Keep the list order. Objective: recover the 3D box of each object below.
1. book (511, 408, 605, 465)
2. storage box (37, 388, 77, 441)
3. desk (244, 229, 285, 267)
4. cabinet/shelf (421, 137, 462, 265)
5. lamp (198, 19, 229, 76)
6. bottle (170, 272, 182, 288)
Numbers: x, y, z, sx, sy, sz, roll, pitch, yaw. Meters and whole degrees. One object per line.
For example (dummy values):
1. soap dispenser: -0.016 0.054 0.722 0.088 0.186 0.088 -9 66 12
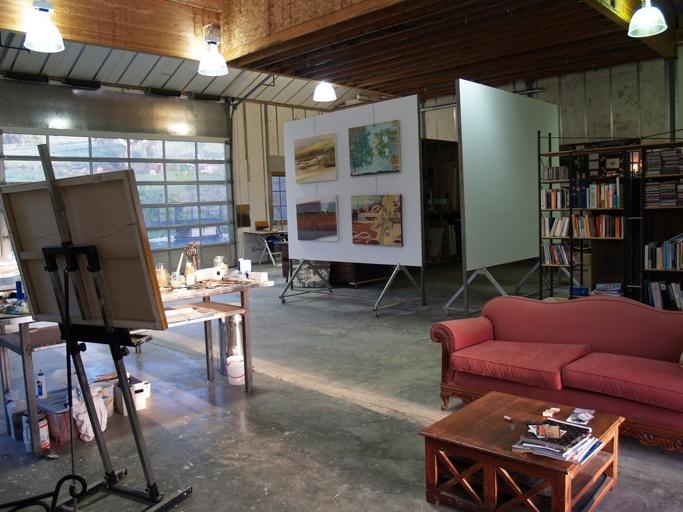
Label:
1. book: 1.293 1.030 2.971 0.456 0.159 0.558 -1 7 26
2. storage box: -2.280 1.296 4.132 0.374 0.220 0.346 -3 -2 44
3. desk: -2.241 -0.312 15.091 0.999 1.033 1.734 13 0 -5
4. cabinet/shelf: 2.493 -1.284 12.395 0.918 3.123 2.126 -4 7 13
5. lamp: -1.741 -2.747 6.643 0.375 0.567 0.365 23 17 9
6. bottle: -1.503 0.223 4.563 0.145 0.123 0.129 -1 -3 9
